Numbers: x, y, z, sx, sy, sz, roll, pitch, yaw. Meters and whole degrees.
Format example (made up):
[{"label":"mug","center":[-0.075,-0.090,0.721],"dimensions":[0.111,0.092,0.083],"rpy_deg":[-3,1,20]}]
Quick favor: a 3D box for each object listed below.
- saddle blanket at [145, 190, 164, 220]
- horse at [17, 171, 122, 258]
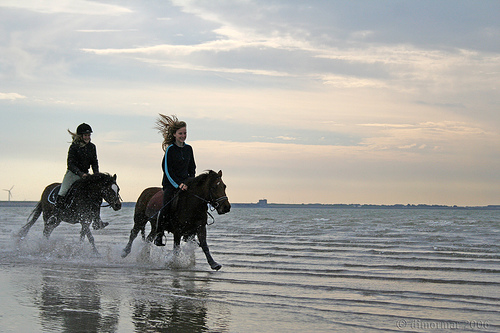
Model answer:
[{"label":"saddle blanket","center":[-2.821,1.155,19.801],"dimensions":[0.346,0.810,1.049],"rpy_deg":[0,1,-25]},{"label":"horse","center":[-6.151,1.586,21.725],"dimensions":[5.140,2.568,1.158],"rpy_deg":[-1,2,35]}]
